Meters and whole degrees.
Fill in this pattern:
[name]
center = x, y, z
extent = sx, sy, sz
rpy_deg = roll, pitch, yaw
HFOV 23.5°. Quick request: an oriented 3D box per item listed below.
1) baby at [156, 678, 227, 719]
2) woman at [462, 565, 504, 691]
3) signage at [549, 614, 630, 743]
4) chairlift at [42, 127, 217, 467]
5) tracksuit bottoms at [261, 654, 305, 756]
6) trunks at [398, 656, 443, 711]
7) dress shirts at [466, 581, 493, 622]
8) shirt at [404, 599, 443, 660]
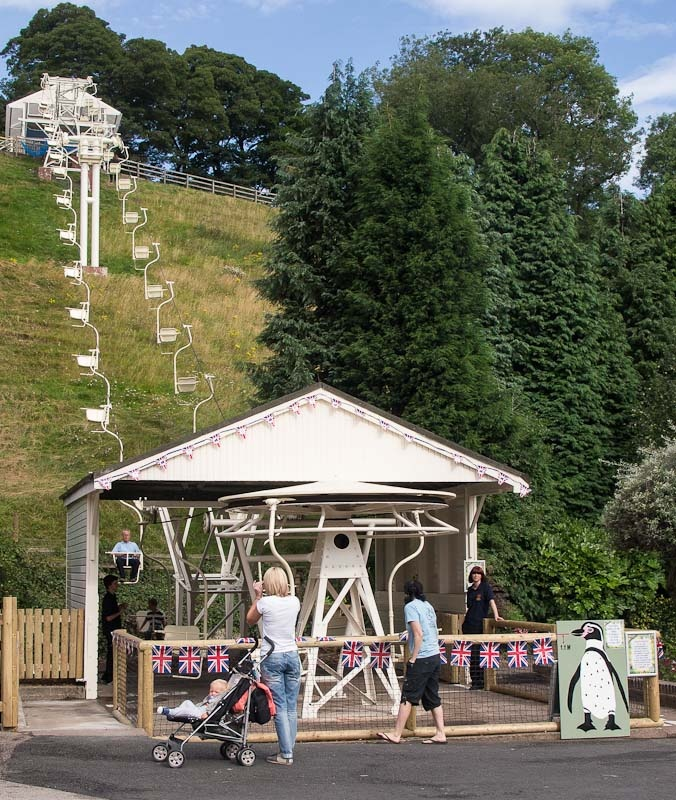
[baby]
center = -1.767, 3.674, 19.928
extent = 0.844, 0.450, 0.467
rpy_deg = 1, 2, -8
[woman]
center = 2.170, 3.415, 25.106
extent = 0.772, 1.624, 0.506
rpy_deg = 3, 8, 29
[signage]
center = 3.416, 3.795, 21.932
extent = 1.579, 2.170, 0.028
rpy_deg = 2, -10, -15
[chairlift]
center = -8.037, -3.908, 60.871
extent = 2.538, 15.993, 1.748
rpy_deg = 1, -17, -42
[tracksuit bottoms]
center = -0.691, 3.731, 19.972
extent = 0.355, 1.343, 0.450
rpy_deg = 3, 2, 38
[trunks]
center = 1.114, 3.655, 21.022
extent = 0.546, 0.750, 0.284
rpy_deg = 0, 2, -27
[dress shirts]
center = 2.199, 3.092, 25.106
extent = 0.405, 0.604, 0.414
rpy_deg = 1, 2, 4
[shirt]
center = 1.115, 2.932, 21.003
extent = 0.511, 0.741, 0.351
rpy_deg = 1, 2, -16
